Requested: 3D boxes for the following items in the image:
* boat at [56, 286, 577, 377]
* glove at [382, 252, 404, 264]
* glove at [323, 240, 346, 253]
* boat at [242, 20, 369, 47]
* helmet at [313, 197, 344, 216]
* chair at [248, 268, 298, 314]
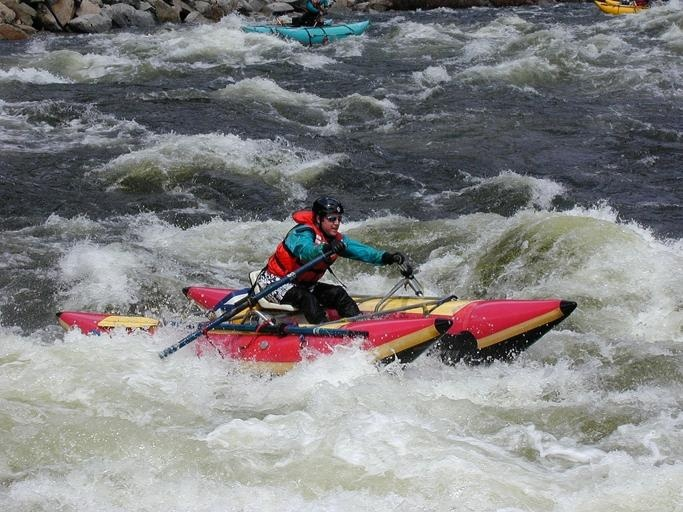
[{"bbox_3d":[-0.749,1.052,15.577,7.197,0.897,2.108,-1,18,14],"label":"boat"},{"bbox_3d":[0.739,0.032,15.519,0.254,0.083,0.281,3,-2,7],"label":"glove"},{"bbox_3d":[-0.095,-0.125,15.184,0.289,0.227,0.164,10,43,-1],"label":"glove"},{"bbox_3d":[-0.573,-6.341,30.478,3.297,0.399,1.165,-9,21,-31],"label":"boat"},{"bbox_3d":[-0.194,-0.709,15.483,0.415,0.165,0.280,19,14,16],"label":"helmet"},{"bbox_3d":[-1.024,0.515,15.596,0.817,0.216,0.572,12,19,22],"label":"chair"}]
